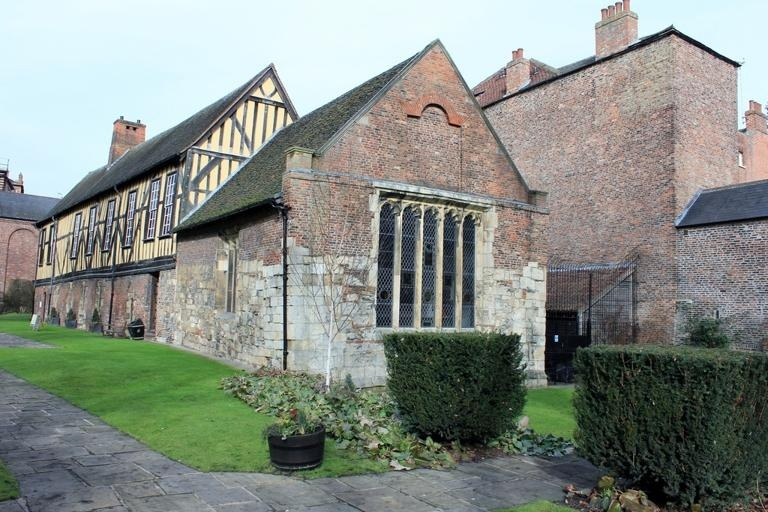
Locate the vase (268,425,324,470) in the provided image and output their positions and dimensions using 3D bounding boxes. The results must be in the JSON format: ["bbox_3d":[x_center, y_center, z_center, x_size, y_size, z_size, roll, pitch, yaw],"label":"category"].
[{"bbox_3d":[-1.818,3.908,12.421,1.241,0.658,1.155,0,-6,0],"label":"vase"}]

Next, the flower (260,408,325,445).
[{"bbox_3d":[-1.741,3.347,12.330,0.851,0.387,0.804,-2,-4,9],"label":"flower"}]
